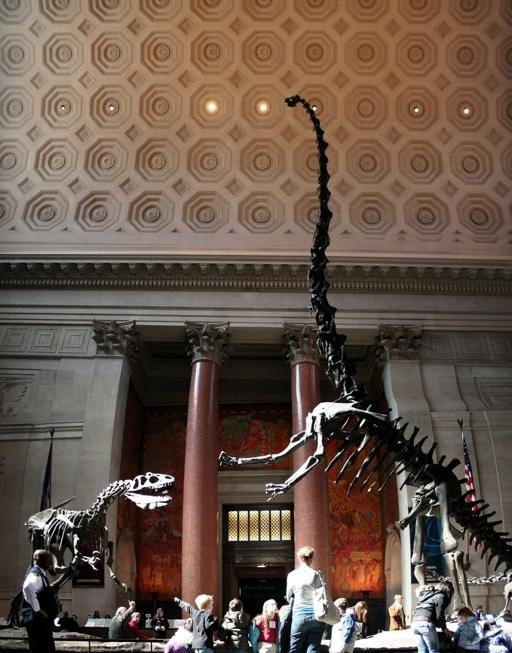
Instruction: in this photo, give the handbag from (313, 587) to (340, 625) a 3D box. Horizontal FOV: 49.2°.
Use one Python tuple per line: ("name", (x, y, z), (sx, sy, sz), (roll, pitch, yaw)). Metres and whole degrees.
("handbag", (0.302, 1.174, 2.362), (0.111, 0.144, 0.204), (-1, -26, 5))
